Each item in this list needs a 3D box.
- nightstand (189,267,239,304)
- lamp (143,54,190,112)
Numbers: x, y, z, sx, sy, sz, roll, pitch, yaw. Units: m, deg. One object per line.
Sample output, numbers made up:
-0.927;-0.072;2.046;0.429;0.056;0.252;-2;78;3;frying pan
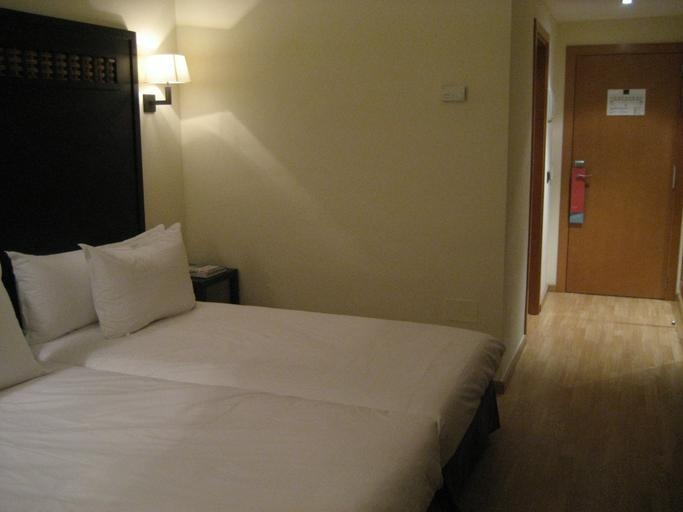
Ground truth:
-0.958;0.238;3.944;0.274;0.310;0.301;6;23;15;nightstand
-1.253;-1.211;3.729;0.284;0.390;0.337;-11;18;-34;lamp
